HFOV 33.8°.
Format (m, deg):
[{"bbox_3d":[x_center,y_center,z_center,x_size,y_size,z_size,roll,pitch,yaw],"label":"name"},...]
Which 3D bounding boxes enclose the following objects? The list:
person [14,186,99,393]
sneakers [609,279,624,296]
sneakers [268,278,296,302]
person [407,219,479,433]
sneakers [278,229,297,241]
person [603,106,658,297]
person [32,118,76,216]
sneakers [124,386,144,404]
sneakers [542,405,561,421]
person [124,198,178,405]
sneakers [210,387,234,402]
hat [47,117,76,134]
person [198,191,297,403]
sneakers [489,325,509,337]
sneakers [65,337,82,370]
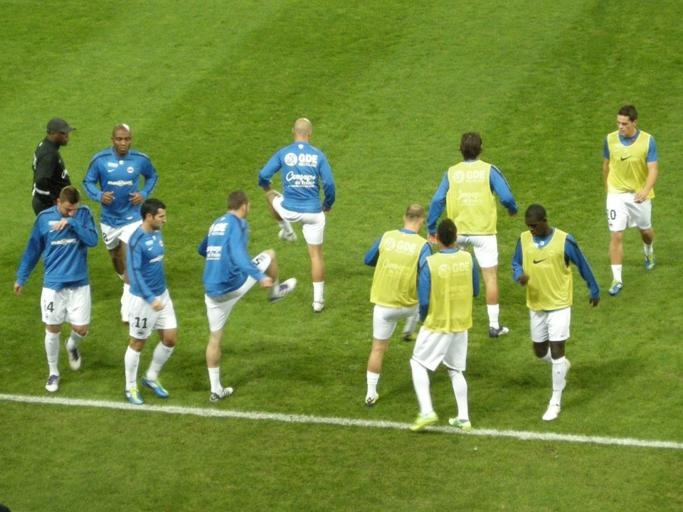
[{"bbox_3d":[-4.032,0.281,16.107,1.001,2.576,0.469,-1,8,-17],"label":"person"},{"bbox_3d":[4.442,0.512,18.168,0.134,0.150,0.327,4,21,40],"label":"sneakers"},{"bbox_3d":[-0.888,0.499,16.737,0.401,0.278,0.132,-38,64,-13],"label":"sneakers"},{"bbox_3d":[1.416,0.939,15.374,0.861,2.895,0.550,2,7,3],"label":"person"},{"bbox_3d":[-0.913,-0.357,18.883,0.281,0.126,0.147,20,30,36],"label":"sneakers"},{"bbox_3d":[4.696,-0.884,18.134,0.882,3.026,0.705,1,7,-6],"label":"person"},{"bbox_3d":[-4.636,-1.395,18.124,0.697,2.125,0.889,-6,48,-19],"label":"person"},{"bbox_3d":[-2.914,1.953,15.950,0.327,0.144,0.159,31,39,23],"label":"sneakers"},{"bbox_3d":[2.931,2.166,15.620,0.121,0.146,0.356,8,18,26],"label":"sneakers"},{"bbox_3d":[-2.671,0.654,15.725,0.668,2.897,0.637,-2,8,-24],"label":"person"},{"bbox_3d":[-1.683,1.923,16.093,0.380,0.151,0.135,-24,34,-37],"label":"sneakers"},{"bbox_3d":[-4.376,-2.003,17.388,0.333,0.183,0.237,-2,25,-8],"label":"hat"},{"bbox_3d":[-1.435,0.568,15.885,1.185,2.967,1.194,1,7,-2],"label":"person"},{"bbox_3d":[2.461,1.143,17.299,0.361,0.120,0.147,-3,14,-25],"label":"sneakers"},{"bbox_3d":[-3.965,1.433,16.583,0.165,0.461,0.202,-22,23,-40],"label":"sneakers"}]
